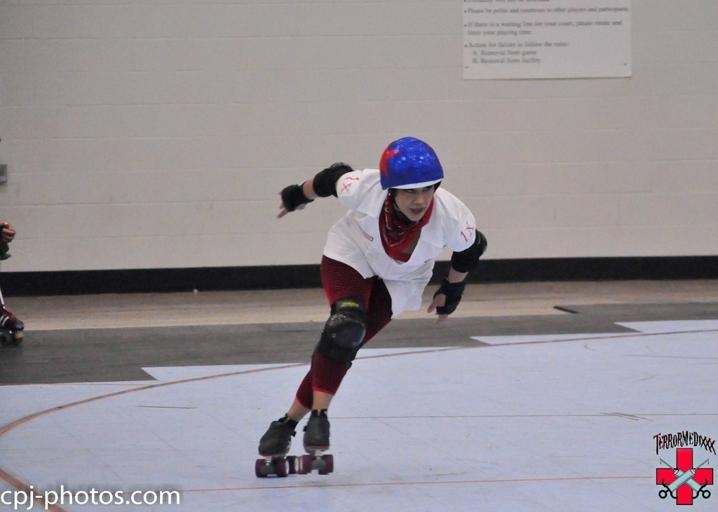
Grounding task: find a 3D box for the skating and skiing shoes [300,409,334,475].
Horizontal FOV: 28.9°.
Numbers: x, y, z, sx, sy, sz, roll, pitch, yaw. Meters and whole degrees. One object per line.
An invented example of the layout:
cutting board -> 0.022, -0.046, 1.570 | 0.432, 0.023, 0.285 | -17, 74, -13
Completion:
skating and skiing shoes -> -0.274, 1.198, 8.997 | 0.207, 0.412, 0.164 | -2, 14, -1
